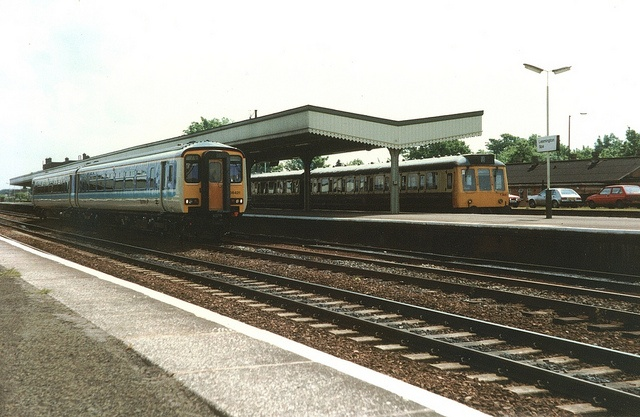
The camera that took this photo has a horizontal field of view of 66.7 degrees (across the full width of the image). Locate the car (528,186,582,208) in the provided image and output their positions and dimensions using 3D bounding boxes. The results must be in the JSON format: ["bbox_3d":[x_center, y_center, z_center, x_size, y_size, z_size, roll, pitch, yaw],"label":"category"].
[{"bbox_3d":[19.395,-0.962,39.849,1.874,1.416,4.123,-2,6,-22],"label":"car"}]

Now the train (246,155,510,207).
[{"bbox_3d":[3.819,-1.353,36.026,3.466,3.810,22.034,-2,2,-28],"label":"train"}]
